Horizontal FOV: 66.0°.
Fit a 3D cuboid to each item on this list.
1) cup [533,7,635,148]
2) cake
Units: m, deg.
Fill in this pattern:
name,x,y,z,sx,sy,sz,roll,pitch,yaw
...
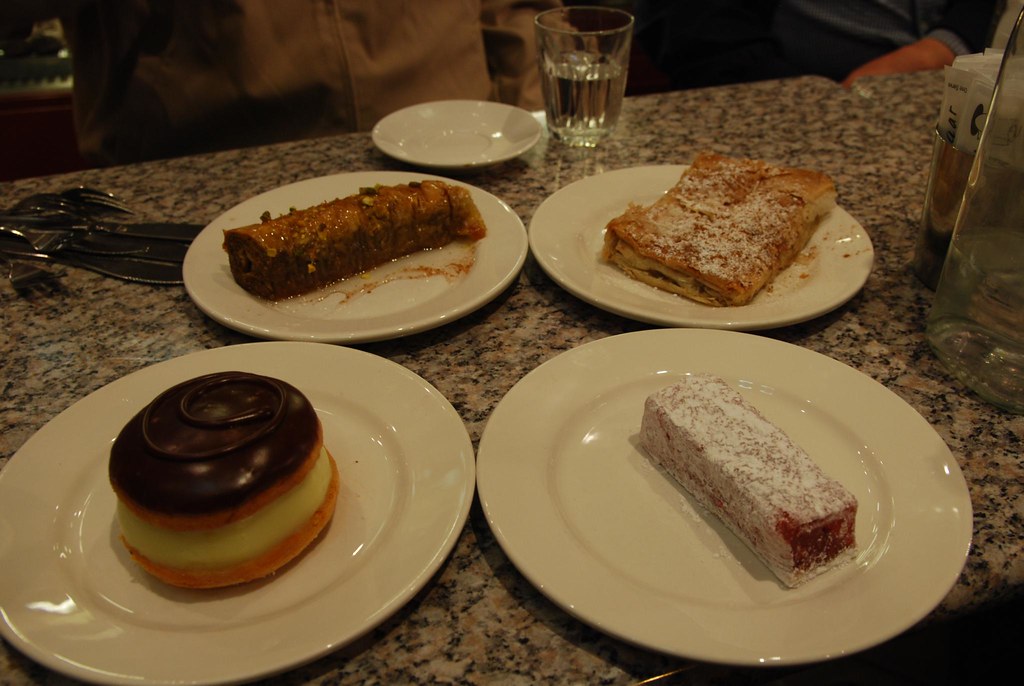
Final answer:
name,x,y,z,sx,sy,sz,roll,pitch,yaw
cup,0.145,-0.742,2.233,0.332,0.394,0.352,-1,32,1
cake,-0.467,0.216,1.271,0.329,0.190,0.284,-5,49,0
